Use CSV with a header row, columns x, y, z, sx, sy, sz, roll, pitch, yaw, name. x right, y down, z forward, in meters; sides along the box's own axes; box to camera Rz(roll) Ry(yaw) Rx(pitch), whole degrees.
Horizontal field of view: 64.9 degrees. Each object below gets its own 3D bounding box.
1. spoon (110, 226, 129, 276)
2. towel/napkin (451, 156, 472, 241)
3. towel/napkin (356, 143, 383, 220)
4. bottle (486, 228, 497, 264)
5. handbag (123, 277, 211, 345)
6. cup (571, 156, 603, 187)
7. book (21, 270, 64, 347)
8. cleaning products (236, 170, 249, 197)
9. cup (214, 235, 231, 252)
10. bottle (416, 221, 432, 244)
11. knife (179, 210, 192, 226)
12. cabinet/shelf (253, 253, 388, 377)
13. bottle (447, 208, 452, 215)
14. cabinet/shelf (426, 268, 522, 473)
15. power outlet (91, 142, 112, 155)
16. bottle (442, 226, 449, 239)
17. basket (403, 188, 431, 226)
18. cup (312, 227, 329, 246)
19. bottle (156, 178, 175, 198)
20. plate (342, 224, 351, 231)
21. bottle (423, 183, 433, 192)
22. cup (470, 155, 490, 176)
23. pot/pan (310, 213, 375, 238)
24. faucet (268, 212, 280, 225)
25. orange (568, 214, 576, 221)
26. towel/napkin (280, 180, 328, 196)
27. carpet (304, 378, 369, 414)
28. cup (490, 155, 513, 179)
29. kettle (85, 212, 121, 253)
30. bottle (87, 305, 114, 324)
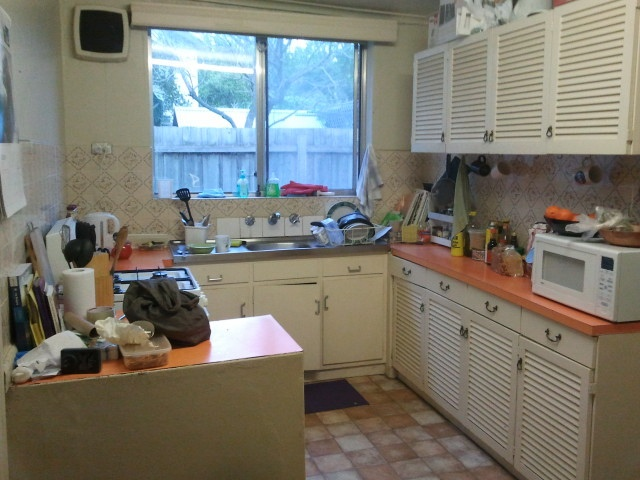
x,y,z,sx,sy,sz,roll,pitch,yaw,name
-1.288,0.073,3.242,0.056,0.393,0.059,4,41,-44,spoon
1.083,-0.333,3.822,0.127,0.572,0.299,3,14,16,towel/napkin
0.454,-0.538,4.580,0.241,0.643,0.204,1,14,4,towel/napkin
1.209,0.036,3.553,0.071,0.235,0.138,4,14,18,bottle
-0.657,0.312,2.224,0.278,0.159,0.325,-1,25,-40,handbag
1.648,-0.427,3.126,0.087,0.164,0.192,-3,14,-9,cup
-1.161,0.307,2.181,0.068,0.249,0.173,-6,13,-13,book
-0.669,-0.495,4.407,0.100,0.220,0.176,-2,14,-6,cleaning products
-0.737,0.026,3.837,0.115,0.110,0.092,0,2,-10,cup
0.881,-0.056,4.367,0.135,0.258,0.139,0,6,0,bottle
-1.087,-0.186,4.149,0.064,0.079,0.279,-11,30,-25,knife
-0.041,0.615,4.258,1.147,1.061,0.455,-2,3,-18,cabinet/shelf
1.057,-0.235,4.107,0.034,0.047,0.049,-1,-4,15,bottle
1.149,0.807,3.410,0.403,1.096,1.204,-1,6,-13,cabinet/shelf
-1.732,-0.728,4.017,0.155,0.091,0.020,-4,14,-13,power outlet
1.044,-0.067,4.168,0.073,0.111,0.107,-1,6,-4,bottle
0.834,-0.275,4.325,0.217,0.274,0.162,2,14,9,basket
0.010,-0.038,4.201,0.098,0.113,0.082,-30,11,32,cup
-1.267,-0.428,4.158,0.140,0.147,0.145,0,2,-15,bottle
0.214,-0.106,4.101,0.040,0.049,0.054,-3,-16,-42,plate
0.944,-0.467,4.398,0.122,0.090,0.068,6,12,37,bottle
1.247,-0.590,3.952,0.155,0.140,0.263,-3,15,-11,cup
0.228,-0.108,4.146,0.338,0.085,0.248,-2,-22,6,pot/pan
-0.390,-0.188,4.394,0.028,0.074,0.115,11,10,18,faucet
1.426,-0.131,2.853,0.039,0.040,0.039,-3,4,-38,orange
-0.139,-0.465,4.539,0.430,0.121,0.161,-2,14,-6,towel/napkin
0.092,1.196,3.938,0.492,0.036,0.439,-4,15,-14,carpet
1.360,-0.543,3.776,0.116,0.147,0.150,1,26,13,cup
-1.518,-0.080,3.664,0.308,0.340,0.177,0,3,-23,kettle
-0.999,0.325,2.308,0.081,0.065,0.084,1,5,0,bottle
